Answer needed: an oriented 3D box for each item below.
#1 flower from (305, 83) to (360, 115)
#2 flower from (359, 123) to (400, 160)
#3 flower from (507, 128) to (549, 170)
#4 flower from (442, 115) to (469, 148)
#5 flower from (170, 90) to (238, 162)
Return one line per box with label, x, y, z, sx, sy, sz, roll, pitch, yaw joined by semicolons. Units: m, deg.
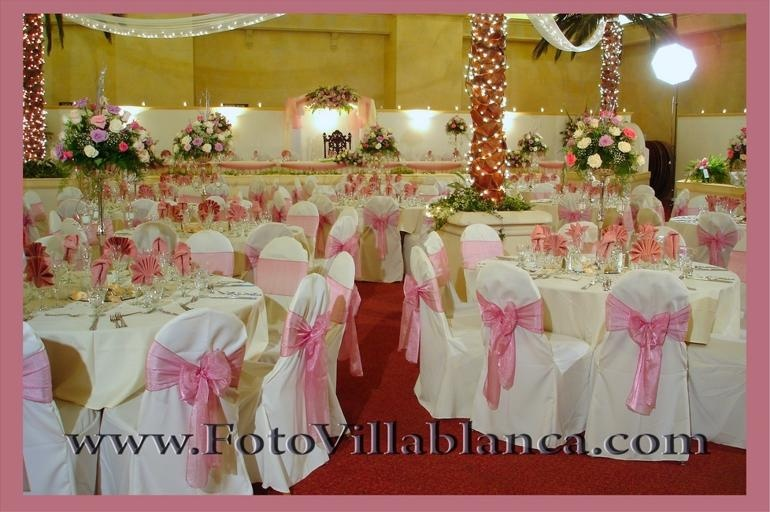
flower;-1.122;-3.236;11.633;1.015;0.416;1.066;-1;8;-6
flower;-0.110;-2.023;10.103;0.661;0.617;0.670;-2;12;-19
flower;3.120;-2.323;12.379;0.879;0.808;0.875;1;12;4
flower;1.541;-2.662;12.053;0.521;0.680;0.545;-12;22;-24
flower;-2.780;-1.972;8.565;0.863;1.345;0.946;0;15;-6
